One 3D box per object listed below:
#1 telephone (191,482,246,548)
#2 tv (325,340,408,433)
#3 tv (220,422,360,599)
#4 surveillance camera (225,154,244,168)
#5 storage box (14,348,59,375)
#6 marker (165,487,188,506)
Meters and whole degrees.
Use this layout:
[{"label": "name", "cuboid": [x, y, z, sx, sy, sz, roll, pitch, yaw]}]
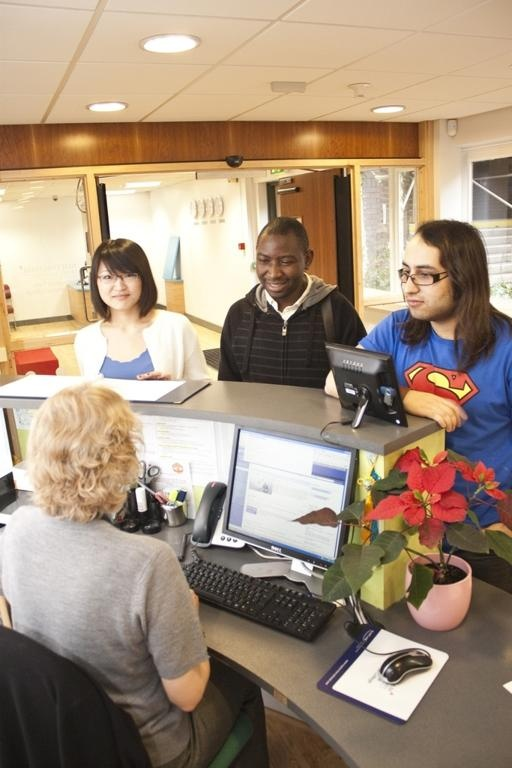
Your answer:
[{"label": "telephone", "cuboid": [-0.108, 0.403, 1.665, 0.127, 0.192, 0.065, -2, -21, 37]}, {"label": "tv", "cuboid": [0.262, 0.015, 1.333, 0.073, 0.171, 0.198, -31, 30, -20]}, {"label": "tv", "cuboid": [0.090, 0.310, 1.365, 0.383, 0.366, 0.125, 11, 7, 40]}, {"label": "surveillance camera", "cuboid": [-0.171, -1.820, 4.571, 0.174, 0.104, 0.065, -8, 11, -24]}, {"label": "storage box", "cuboid": [-1.853, -0.180, 4.713, 0.342, 0.242, 0.243, -10, 12, -33]}, {"label": "marker", "cuboid": [-0.259, 0.364, 1.776, 0.048, 0.047, 0.011, 13, -7, 10]}]
